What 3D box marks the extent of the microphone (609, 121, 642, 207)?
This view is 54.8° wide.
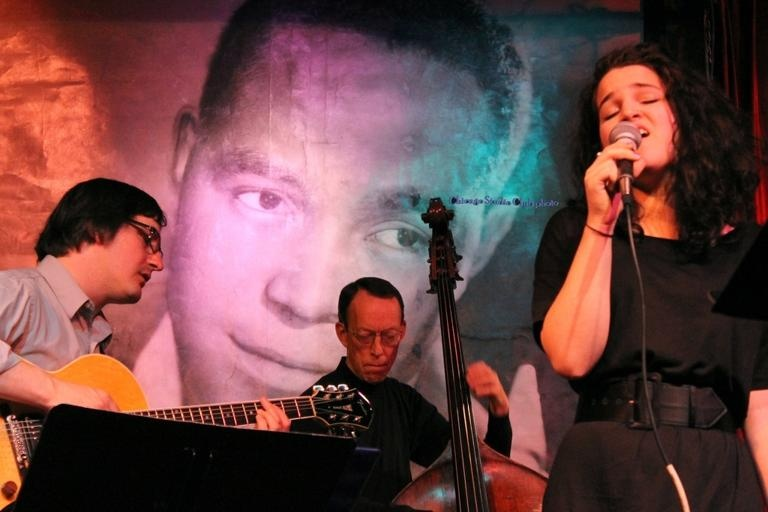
[{"bbox_3d":[0.837,-0.327,2.601,0.097,0.311,0.106,5,-38,1],"label":"microphone"}]
